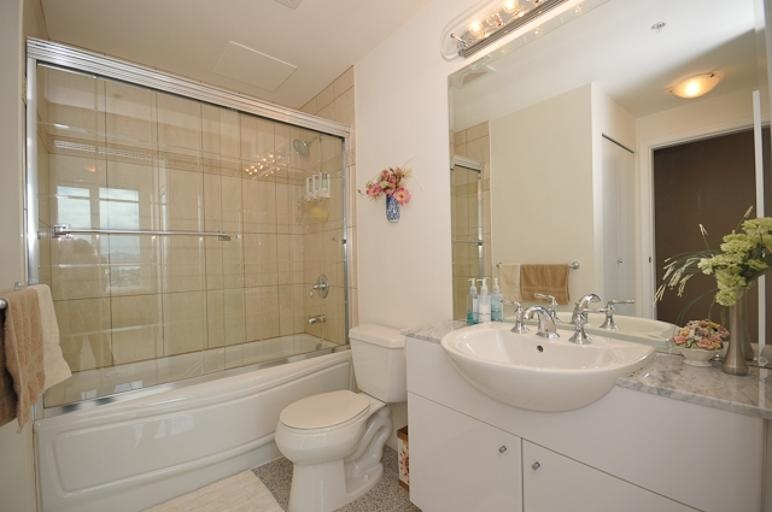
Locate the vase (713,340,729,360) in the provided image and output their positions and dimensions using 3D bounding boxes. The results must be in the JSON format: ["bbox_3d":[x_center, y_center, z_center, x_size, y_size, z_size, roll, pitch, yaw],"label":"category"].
[{"bbox_3d":[1.568,0.439,2.328,0.072,0.058,0.085,-1,2,7],"label":"vase"}]

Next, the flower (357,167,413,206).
[{"bbox_3d":[0.016,-0.480,3.380,0.272,0.159,0.276,-1,17,40],"label":"flower"}]

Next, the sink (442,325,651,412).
[{"bbox_3d":[0.764,0.530,2.419,0.650,0.228,0.436,0,5,44],"label":"sink"}]

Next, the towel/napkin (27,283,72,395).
[{"bbox_3d":[-1.772,0.417,2.632,0.114,0.474,0.353,-2,1,5],"label":"towel/napkin"}]

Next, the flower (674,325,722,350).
[{"bbox_3d":[1.482,0.379,2.330,0.130,0.059,0.133,-12,13,-2],"label":"flower"}]

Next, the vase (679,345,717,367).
[{"bbox_3d":[1.457,0.459,2.321,0.100,0.043,0.101,2,-7,-19],"label":"vase"}]

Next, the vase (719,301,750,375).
[{"bbox_3d":[1.591,0.367,2.260,0.110,0.342,0.066,-1,1,22],"label":"vase"}]

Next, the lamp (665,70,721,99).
[{"bbox_3d":[1.497,-0.826,2.398,0.124,0.040,0.125,22,-34,-24],"label":"lamp"}]

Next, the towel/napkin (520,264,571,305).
[{"bbox_3d":[0.905,0.159,2.776,0.214,0.170,0.043,-5,-11,41],"label":"towel/napkin"}]

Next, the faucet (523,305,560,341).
[{"bbox_3d":[0.842,0.356,2.681,0.174,0.190,0.145,-1,5,33],"label":"faucet"}]
